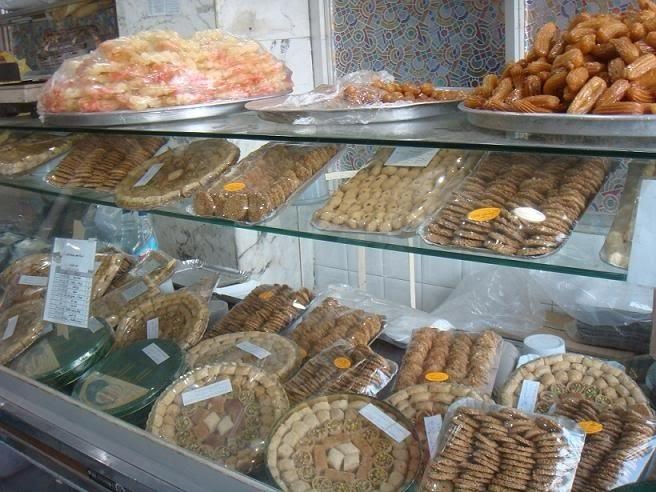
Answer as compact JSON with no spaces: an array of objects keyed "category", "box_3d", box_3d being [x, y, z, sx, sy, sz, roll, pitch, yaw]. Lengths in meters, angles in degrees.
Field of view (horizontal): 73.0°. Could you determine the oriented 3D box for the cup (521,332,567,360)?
[{"category":"cup","box_3d":[0.548,0.253,1.130,0.075,0.052,0.069,2,-10,0]}]
